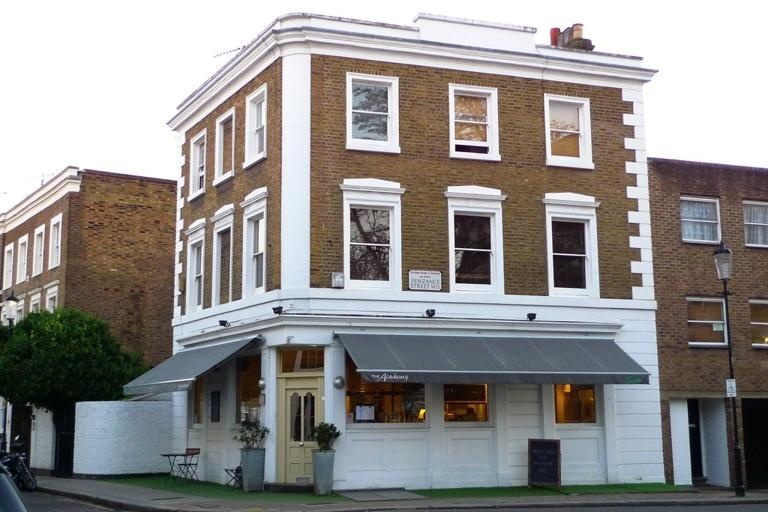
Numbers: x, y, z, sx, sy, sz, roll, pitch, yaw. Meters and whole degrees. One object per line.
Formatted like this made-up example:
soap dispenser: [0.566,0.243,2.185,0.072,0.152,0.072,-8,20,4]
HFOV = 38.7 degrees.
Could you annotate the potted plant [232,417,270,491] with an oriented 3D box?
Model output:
potted plant: [-4.163,6.415,35.031,1.046,2.305,0.659,-4,-18,9]

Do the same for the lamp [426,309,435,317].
lamp: [1.547,1.882,35.637,0.330,0.296,0.332,1,-17,-5]

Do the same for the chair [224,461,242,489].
chair: [-4.956,7.304,36.208,0.550,0.650,1.154,6,-14,-16]

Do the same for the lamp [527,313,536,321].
lamp: [4.946,2.050,36.545,0.298,0.249,0.234,2,-6,-7]

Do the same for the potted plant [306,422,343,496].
potted plant: [-1.799,6.367,34.208,0.856,2.265,0.686,4,-19,-13]

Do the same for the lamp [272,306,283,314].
lamp: [-3.373,1.775,35.053,0.296,0.208,0.250,0,-13,-1]
